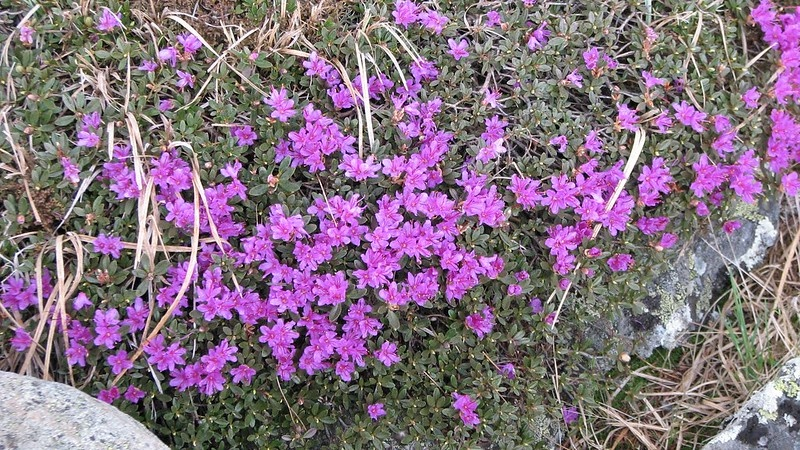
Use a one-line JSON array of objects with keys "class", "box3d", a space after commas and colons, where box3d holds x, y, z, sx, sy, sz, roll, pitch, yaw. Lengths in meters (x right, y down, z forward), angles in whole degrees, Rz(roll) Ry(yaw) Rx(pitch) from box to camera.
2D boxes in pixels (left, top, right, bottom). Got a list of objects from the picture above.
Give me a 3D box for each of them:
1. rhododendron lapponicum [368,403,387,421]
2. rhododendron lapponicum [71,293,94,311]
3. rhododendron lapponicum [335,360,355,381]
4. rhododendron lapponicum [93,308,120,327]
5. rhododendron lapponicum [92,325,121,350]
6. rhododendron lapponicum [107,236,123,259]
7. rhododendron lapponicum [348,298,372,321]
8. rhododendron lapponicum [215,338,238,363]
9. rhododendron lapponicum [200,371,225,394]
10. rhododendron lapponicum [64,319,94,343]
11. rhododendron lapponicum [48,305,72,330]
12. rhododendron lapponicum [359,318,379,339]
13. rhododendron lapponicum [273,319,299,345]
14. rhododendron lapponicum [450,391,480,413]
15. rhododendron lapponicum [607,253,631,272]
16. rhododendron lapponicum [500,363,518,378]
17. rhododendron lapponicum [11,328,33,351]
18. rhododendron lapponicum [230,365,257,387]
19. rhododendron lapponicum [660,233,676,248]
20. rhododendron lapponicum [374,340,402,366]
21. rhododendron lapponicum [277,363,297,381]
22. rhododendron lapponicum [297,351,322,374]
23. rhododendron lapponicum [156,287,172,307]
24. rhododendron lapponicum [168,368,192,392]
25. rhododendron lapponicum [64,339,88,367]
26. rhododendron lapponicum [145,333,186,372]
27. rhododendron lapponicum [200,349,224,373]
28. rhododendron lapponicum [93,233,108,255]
[{"class": "rhododendron lapponicum", "box3d": [-0.177, 1.430, 4.843, 0.138, 0.137, 0.096, -11, 54, -19]}, {"class": "rhododendron lapponicum", "box3d": [-2.366, 0.573, 4.683, 0.125, 0.128, 0.060, -34, 105, -37]}, {"class": "rhododendron lapponicum", "box3d": [-0.428, 1.095, 4.868, 0.146, 0.080, 0.156, -37, 101, -2]}, {"class": "rhododendron lapponicum", "box3d": [-2.181, 0.674, 4.677, 0.166, 0.156, 0.154, -6, 53, -15]}, {"class": "rhododendron lapponicum", "box3d": [-2.164, 0.829, 4.656, 0.187, 0.120, 0.138, -6, 53, -15]}, {"class": "rhododendron lapponicum", "box3d": [-2.137, 0.160, 4.750, 0.145, 0.059, 0.151, -3, 87, 5]}, {"class": "rhododendron lapponicum", "box3d": [-0.296, 0.633, 4.695, 0.169, 0.146, 0.108, 9, 50, -3]}, {"class": "rhododendron lapponicum", "box3d": [-1.295, 0.942, 4.703, 0.168, 0.085, 0.162, -11, 96, -11]}, {"class": "rhododendron lapponicum", "box3d": [-1.413, 1.186, 4.753, 0.192, 0.092, 0.188, -3, 101, -5]}, {"class": "rhododendron lapponicum", "box3d": [-2.396, 0.795, 4.702, 0.181, 0.082, 0.164, 22, 87, -21]}, {"class": "rhododendron lapponicum", "box3d": [-2.529, 0.677, 4.680, 0.112, 0.131, 0.120, -27, 68, -15]}, {"class": "rhododendron lapponicum", "box3d": [-0.236, 0.766, 4.791, 0.154, 0.079, 0.144, -3, 94, -22]}, {"class": "rhododendron lapponicum", "box3d": [-0.856, 0.794, 4.697, 0.142, 0.155, 0.147, -21, 57, -24]}, {"class": "rhododendron lapponicum", "box3d": [0.488, 1.367, 4.848, 0.214, 0.102, 0.123, 21, 51, 7]}, {"class": "rhododendron lapponicum", "box3d": [1.735, 0.306, 5.011, 0.147, 0.156, 0.075, 58, 18, -5]}, {"class": "rhododendron lapponicum", "box3d": [0.841, 1.156, 4.936, 0.113, 0.118, 0.053, 10, 56, -12]}, {"class": "rhododendron lapponicum", "box3d": [-2.820, 0.849, 4.707, 0.129, 0.111, 0.129, 21, 5, -37]}, {"class": "rhododendron lapponicum", "box3d": [-1.189, 1.126, 4.769, 0.155, 0.087, 0.156, -30, 110, 0]}, {"class": "rhododendron lapponicum", "box3d": [2.142, 0.125, 5.053, 0.125, 0.061, 0.121, -18, 95, -1]}, {"class": "rhododendron lapponicum", "box3d": [-0.097, 0.992, 4.808, 0.180, 0.193, 0.141, -14, 55, -20]}, {"class": "rhododendron lapponicum", "box3d": [-0.861, 1.111, 4.785, 0.136, 0.133, 0.060, 10, 11, -15]}, {"class": "rhododendron lapponicum", "box3d": [-0.672, 1.044, 4.768, 0.184, 0.188, 0.106, 2, 51, -9]}, {"class": "rhododendron lapponicum", "box3d": [-1.772, 0.541, 4.739, 0.124, 0.063, 0.122, 23, 91, -21]}, {"class": "rhododendron lapponicum", "box3d": [-1.661, 1.167, 4.760, 0.170, 0.165, 0.056, 12, 13, -2]}, {"class": "rhododendron lapponicum", "box3d": [-2.401, 0.965, 4.683, 0.136, 0.146, 0.147, 11, 50, -1]}, {"class": "rhododendron lapponicum", "box3d": [-1.770, 0.982, 4.745, 0.310, 0.247, 0.195, 20, 51, 7]}, {"class": "rhododendron lapponicum", "box3d": [-1.401, 1.019, 4.700, 0.134, 0.124, 0.123, 39, 55, 21]}, {"class": "rhododendron lapponicum", "box3d": [-2.236, 0.153, 4.703, 0.105, 0.139, 0.114, -21, 58, -25]}]
